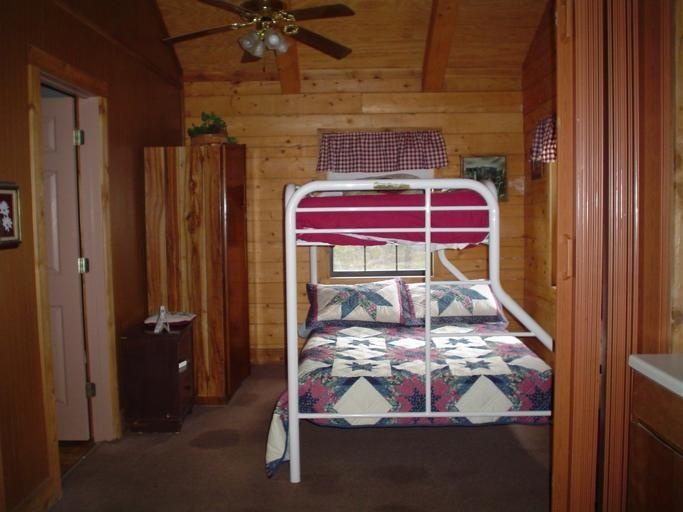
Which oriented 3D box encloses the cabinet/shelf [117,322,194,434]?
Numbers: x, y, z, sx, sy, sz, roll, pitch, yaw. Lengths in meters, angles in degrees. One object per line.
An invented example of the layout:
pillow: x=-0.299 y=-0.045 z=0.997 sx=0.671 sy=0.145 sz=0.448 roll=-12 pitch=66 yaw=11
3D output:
cabinet/shelf: x=-1.235 y=0.778 z=4.096 sx=0.412 sy=0.652 sz=0.437 roll=-1 pitch=15 yaw=1

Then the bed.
bed: x=0.364 y=0.364 z=3.578 sx=1.381 sy=1.636 sz=1.093 roll=-2 pitch=15 yaw=-2

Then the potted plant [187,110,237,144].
potted plant: x=-0.972 y=-0.932 z=4.492 sx=0.267 sy=0.211 sz=0.229 roll=-5 pitch=14 yaw=-15
